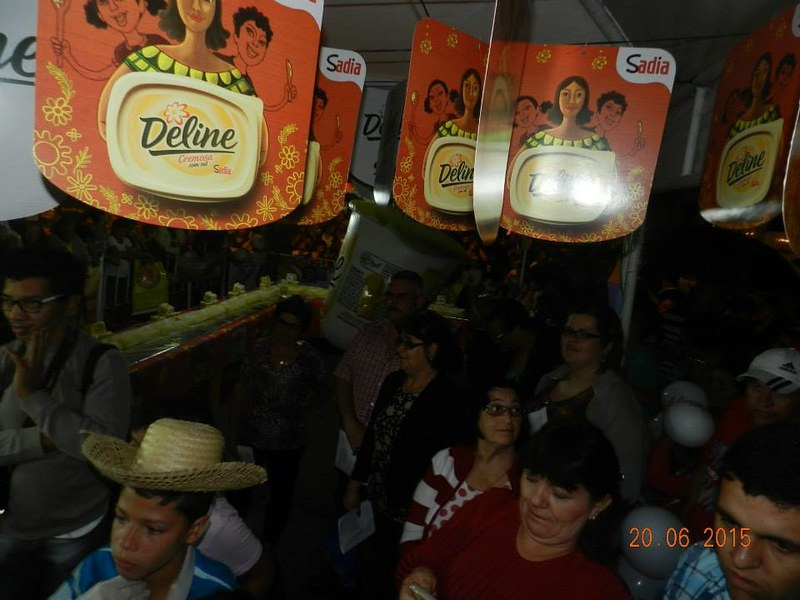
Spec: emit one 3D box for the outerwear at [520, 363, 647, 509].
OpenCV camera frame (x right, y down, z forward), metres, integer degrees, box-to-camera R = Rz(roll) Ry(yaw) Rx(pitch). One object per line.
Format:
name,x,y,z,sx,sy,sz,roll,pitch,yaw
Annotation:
outerwear,0.820,0.612,2.538,0.263,0.455,0.442,0,34,-34

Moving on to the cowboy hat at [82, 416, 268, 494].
cowboy hat,-0.878,0.627,2.238,0.464,0.154,0.411,15,-7,-32

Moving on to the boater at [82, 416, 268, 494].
boater,-0.870,0.634,2.241,0.464,0.154,0.411,15,-7,-32
